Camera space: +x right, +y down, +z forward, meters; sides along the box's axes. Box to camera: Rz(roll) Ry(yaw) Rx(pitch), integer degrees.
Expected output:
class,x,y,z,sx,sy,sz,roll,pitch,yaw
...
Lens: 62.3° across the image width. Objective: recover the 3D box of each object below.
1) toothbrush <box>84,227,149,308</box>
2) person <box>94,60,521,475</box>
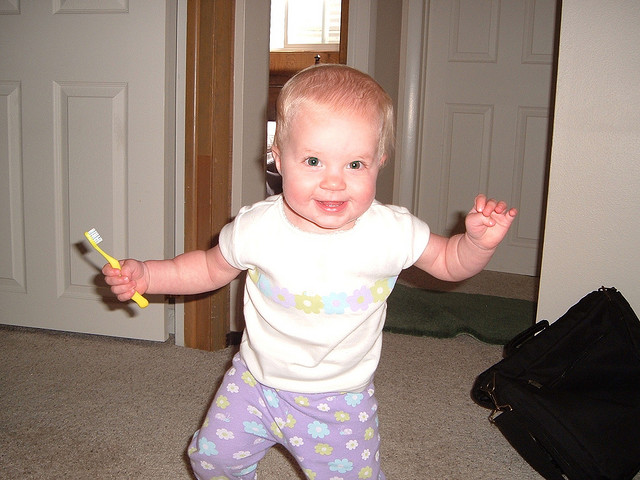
class,x,y,z,sx,sy,sz,roll,pitch,yaw
toothbrush,-0.622,0.065,1.615,0.057,0.344,0.030,-36,10,-2
person,-0.028,0.088,1.127,0.821,0.881,0.272,3,15,15
